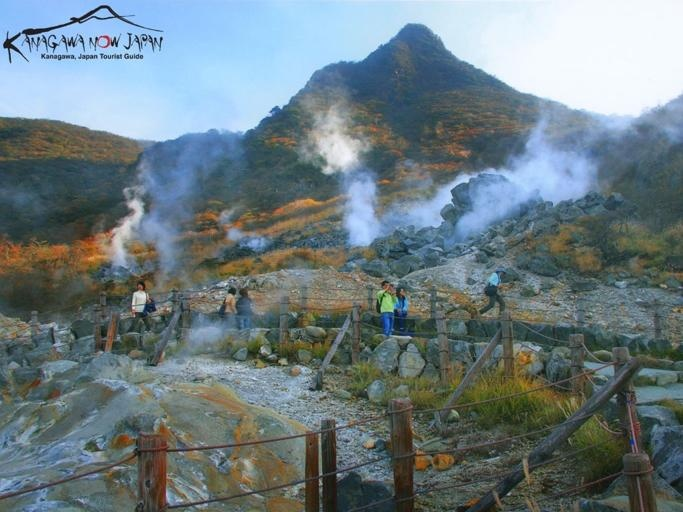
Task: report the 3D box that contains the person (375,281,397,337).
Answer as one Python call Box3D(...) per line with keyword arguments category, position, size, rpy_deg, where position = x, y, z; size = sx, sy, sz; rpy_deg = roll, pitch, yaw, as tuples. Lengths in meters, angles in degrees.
Box3D(category="person", position=(1.331, 1.546, 16.225), size=(0.547, 1.520, 1.153), rpy_deg=(0, -1, 6))

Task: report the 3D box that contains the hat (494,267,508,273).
Box3D(category="hat", position=(4.977, 0.457, 17.284), size=(0.442, 0.116, 0.472), rpy_deg=(0, -3, 5))

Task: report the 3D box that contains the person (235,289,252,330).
Box3D(category="person", position=(-3.268, 1.775, 18.470), size=(0.514, 1.187, 1.611), rpy_deg=(0, -1, -11))

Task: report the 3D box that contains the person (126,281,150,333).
Box3D(category="person", position=(-6.489, 1.627, 17.786), size=(0.539, 1.556, 1.269), rpy_deg=(1, -1, -21))

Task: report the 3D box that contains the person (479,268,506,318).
Box3D(category="person", position=(5.205, 1.316, 18.872), size=(0.886, 1.610, 0.693), rpy_deg=(1, 43, 12))

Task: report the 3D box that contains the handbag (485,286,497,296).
Box3D(category="handbag", position=(4.624, 1.072, 16.932), size=(0.265, 0.273, 0.286), rpy_deg=(-12, 39, 8))

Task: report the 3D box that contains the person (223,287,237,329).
Box3D(category="person", position=(-3.678, 1.612, 18.505), size=(0.402, 1.211, 0.321), rpy_deg=(-15, 39, -20))

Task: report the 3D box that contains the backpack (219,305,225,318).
Box3D(category="backpack", position=(-3.939, 1.833, 18.131), size=(0.150, 0.189, 0.514), rpy_deg=(17, 22, -19))
